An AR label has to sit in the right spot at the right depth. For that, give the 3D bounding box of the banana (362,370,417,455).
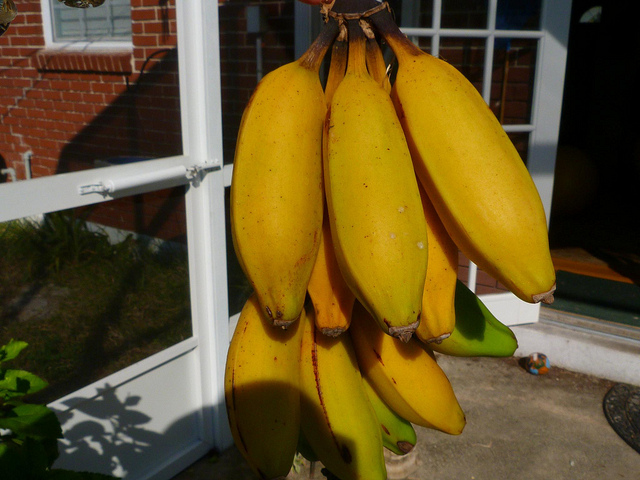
[{"bbox_3d":[0.178,0.444,1.486,0.054,0.226,0.065,-21,4,-23],"label":"banana"}]

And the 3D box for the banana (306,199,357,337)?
[{"bbox_3d":[0.023,0.062,1.404,0.089,0.345,0.089,-4,-1,6],"label":"banana"}]

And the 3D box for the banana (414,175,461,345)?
[{"bbox_3d":[0.256,0.050,1.407,0.093,0.405,0.112,-13,-13,40],"label":"banana"}]

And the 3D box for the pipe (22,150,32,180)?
[{"bbox_3d":[-1.298,-0.324,2.524,0.034,0.126,0.166,-11,24,-27],"label":"pipe"}]

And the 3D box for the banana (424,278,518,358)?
[{"bbox_3d":[0.389,0.236,1.584,0.291,0.172,0.099,37,-10,-13],"label":"banana"}]

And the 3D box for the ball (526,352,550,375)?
[{"bbox_3d":[1.421,0.804,3.746,0.121,0.141,0.130,-24,-4,-2],"label":"ball"}]

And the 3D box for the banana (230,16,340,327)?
[{"bbox_3d":[-0.088,-0.164,1.359,0.180,0.698,0.206,6,-5,-6],"label":"banana"}]
